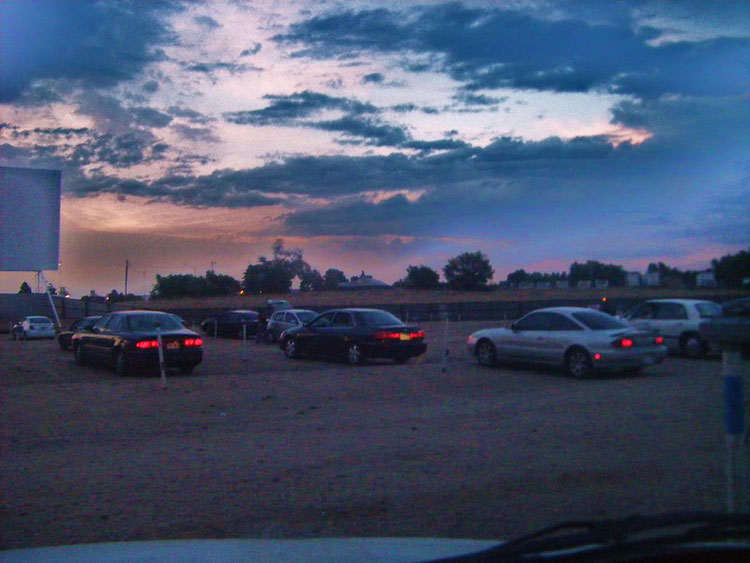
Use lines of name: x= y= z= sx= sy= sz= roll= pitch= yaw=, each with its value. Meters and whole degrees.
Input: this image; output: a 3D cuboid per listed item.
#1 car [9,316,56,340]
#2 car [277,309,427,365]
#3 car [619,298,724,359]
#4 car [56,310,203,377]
car: x=-16.900 y=2.253 z=34.794 sx=1.038 sy=0.757 sz=2.425 roll=1 pitch=1 yaw=-43
car: x=-0.720 y=1.524 z=20.111 sx=4.095 sy=1.466 sz=1.400 roll=0 pitch=1 yaw=41
car: x=7.118 y=1.154 z=17.074 sx=1.431 sy=1.020 sz=2.322 roll=-2 pitch=4 yaw=-44
car: x=-6.096 y=1.416 z=17.628 sx=1.525 sy=1.019 sz=3.265 roll=1 pitch=2 yaw=-41
